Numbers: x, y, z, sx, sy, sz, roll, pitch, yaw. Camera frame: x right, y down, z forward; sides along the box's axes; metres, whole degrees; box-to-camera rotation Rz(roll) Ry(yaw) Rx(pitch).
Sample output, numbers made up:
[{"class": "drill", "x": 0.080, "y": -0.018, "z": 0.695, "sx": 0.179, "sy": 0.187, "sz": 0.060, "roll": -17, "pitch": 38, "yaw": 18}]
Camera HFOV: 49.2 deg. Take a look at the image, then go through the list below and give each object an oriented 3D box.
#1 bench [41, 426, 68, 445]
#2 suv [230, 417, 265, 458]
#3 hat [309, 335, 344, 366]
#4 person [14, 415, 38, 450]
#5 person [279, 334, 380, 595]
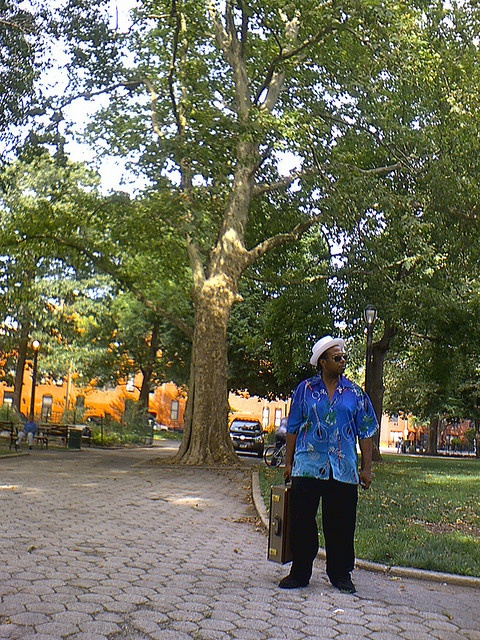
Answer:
[{"class": "bench", "x": -8.175, "y": 5.106, "z": 23.207, "sx": 0.898, "sy": 0.750, "sz": 0.391, "roll": 3, "pitch": -3, "yaw": -13}, {"class": "suv", "x": 0.449, "y": 6.775, "z": 30.440, "sx": 1.480, "sy": 1.755, "sz": 3.009, "roll": 0, "pitch": -17, "yaw": 4}, {"class": "hat", "x": 0.641, "y": 0.190, "z": 3.975, "sx": 0.229, "sy": 0.080, "sz": 0.227, "roll": -38, "pitch": -18, "yaw": -28}, {"class": "person", "x": -8.654, "y": 4.660, "z": 21.541, "sx": 0.692, "sy": 1.228, "sz": 2.887, "roll": 6, "pitch": -10, "yaw": -20}, {"class": "person", "x": 0.636, "y": 1.012, "z": 3.762, "sx": 0.635, "sy": 1.798, "sz": 0.349, "roll": 1, "pitch": -7, "yaw": 10}]
